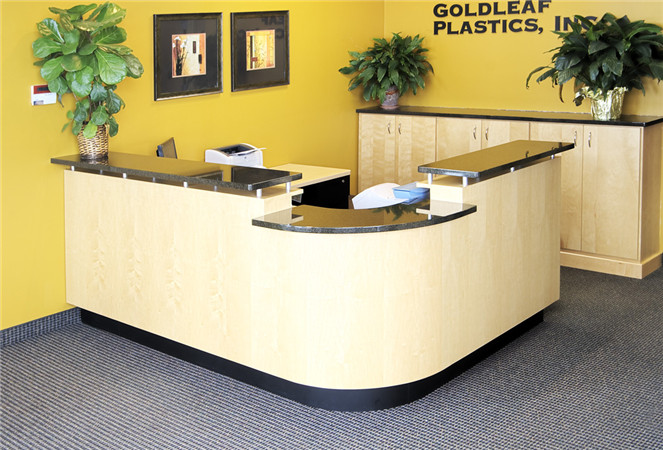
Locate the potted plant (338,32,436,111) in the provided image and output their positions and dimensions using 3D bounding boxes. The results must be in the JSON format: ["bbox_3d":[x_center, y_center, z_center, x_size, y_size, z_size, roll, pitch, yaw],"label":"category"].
[{"bbox_3d":[0.709,-1.998,6.881,1.250,0.921,0.616,-3,17,-2],"label":"potted plant"}]

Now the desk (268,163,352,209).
[{"bbox_3d":[-0.145,-0.366,5.673,0.681,0.473,1.071,-4,16,-5],"label":"desk"}]

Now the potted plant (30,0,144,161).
[{"bbox_3d":[-1.979,-1.171,4.343,0.813,1.260,0.452,-7,18,-16],"label":"potted plant"}]
